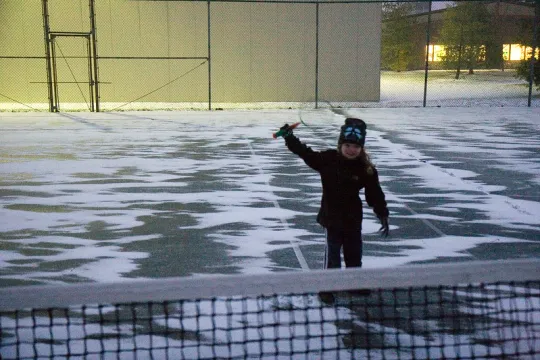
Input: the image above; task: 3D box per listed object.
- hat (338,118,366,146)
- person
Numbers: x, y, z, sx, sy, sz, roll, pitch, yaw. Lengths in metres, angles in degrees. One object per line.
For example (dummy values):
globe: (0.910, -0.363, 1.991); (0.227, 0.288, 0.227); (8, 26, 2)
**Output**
hat: (1.144, -0.656, 10.769); (0.461, 0.335, 0.419); (13, 0, 3)
person: (0.952, 0.194, 10.685); (1.358, 2.033, 0.612); (0, 16, 1)
